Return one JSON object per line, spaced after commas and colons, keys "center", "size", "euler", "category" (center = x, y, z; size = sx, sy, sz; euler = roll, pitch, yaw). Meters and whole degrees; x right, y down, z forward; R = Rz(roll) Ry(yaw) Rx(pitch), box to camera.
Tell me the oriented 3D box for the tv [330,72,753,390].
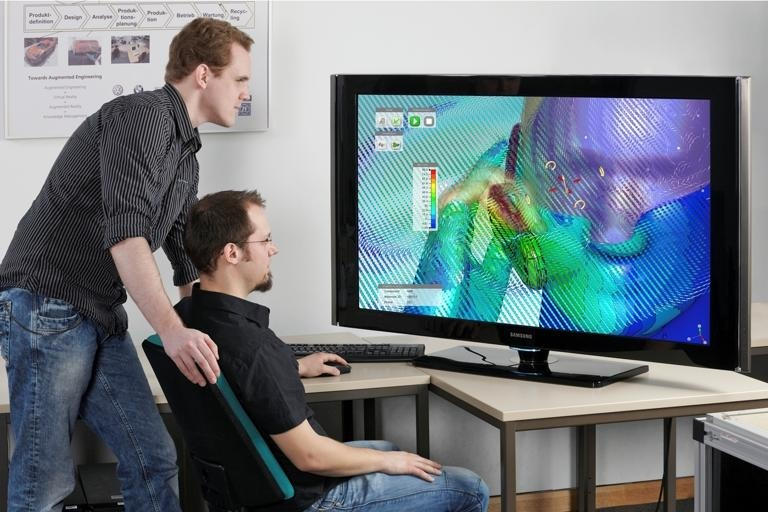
{"center": [0.628, -0.100, 2.800], "size": [1.267, 0.814, 0.336], "euler": [2, 6, 27], "category": "tv"}
